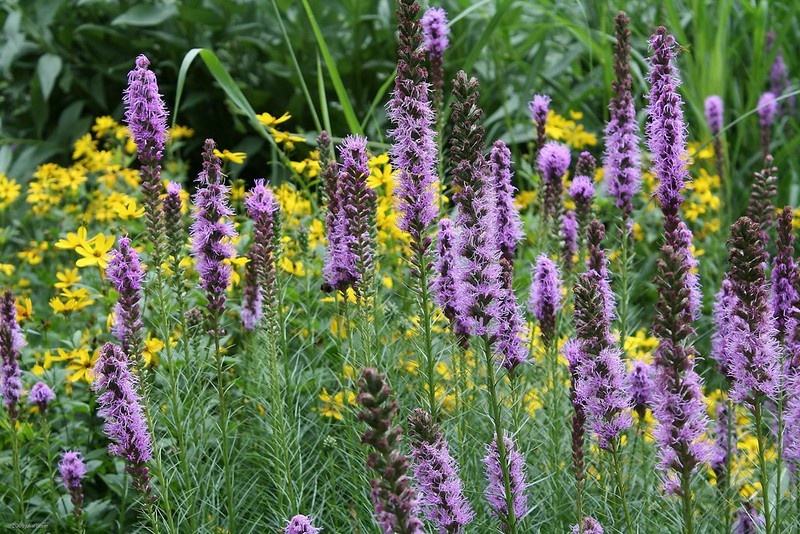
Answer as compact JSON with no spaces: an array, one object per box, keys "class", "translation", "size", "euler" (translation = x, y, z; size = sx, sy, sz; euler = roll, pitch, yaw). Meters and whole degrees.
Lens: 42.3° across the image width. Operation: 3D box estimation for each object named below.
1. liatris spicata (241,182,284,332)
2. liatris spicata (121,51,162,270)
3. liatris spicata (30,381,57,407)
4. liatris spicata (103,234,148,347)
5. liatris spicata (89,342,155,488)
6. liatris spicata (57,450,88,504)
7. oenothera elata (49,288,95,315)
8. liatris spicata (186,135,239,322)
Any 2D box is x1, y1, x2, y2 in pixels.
[{"class":"liatris spicata","translation":[-0.817,-0.063,6.070],"size":[0.271,0.778,0.600],"euler":[-5,2,-9]},{"class":"liatris spicata","translation":[-1.394,-0.600,5.745],"size":[0.221,1.108,0.290],"euler":[-5,2,-15]},{"class":"liatris spicata","translation":[-2.123,0.750,6.192],"size":[0.125,0.171,0.135],"euler":[-3,21,3]},{"class":"liatris spicata","translation":[-1.536,0.153,5.801],"size":[0.204,0.611,0.579],"euler":[-5,2,-16]},{"class":"liatris spicata","translation":[-1.487,0.803,5.558],"size":[0.281,0.787,0.276],"euler":[-5,2,-21]},{"class":"liatris spicata","translation":[-1.853,1.186,5.848],"size":[0.141,0.307,0.191],"euler":[-5,2,-24]},{"class":"oenothera elata","translation":[-2.080,0.202,6.543],"size":[0.229,0.123,0.240],"euler":[-27,3,8]},{"class":"liatris spicata","translation":[-1.047,-0.191,5.766],"size":[0.246,0.965,0.272],"euler":[-5,2,-12]}]
